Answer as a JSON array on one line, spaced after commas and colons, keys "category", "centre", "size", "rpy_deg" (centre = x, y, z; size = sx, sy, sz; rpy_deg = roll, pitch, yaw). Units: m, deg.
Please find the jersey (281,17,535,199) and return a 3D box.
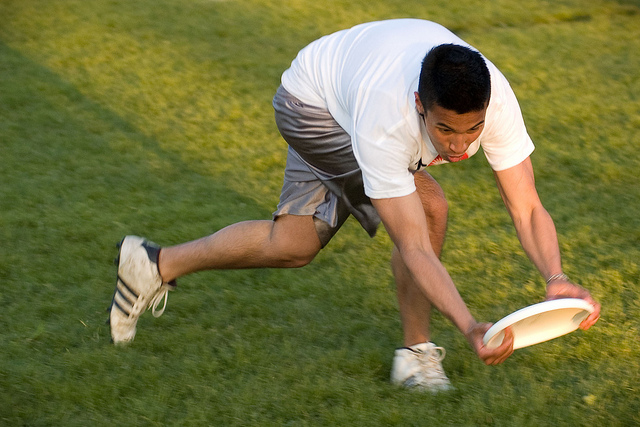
[{"category": "jersey", "centre": [0.487, -0.707, 4.442], "size": [0.979, 0.681, 1.214], "rpy_deg": [-19, 57, -22]}]
